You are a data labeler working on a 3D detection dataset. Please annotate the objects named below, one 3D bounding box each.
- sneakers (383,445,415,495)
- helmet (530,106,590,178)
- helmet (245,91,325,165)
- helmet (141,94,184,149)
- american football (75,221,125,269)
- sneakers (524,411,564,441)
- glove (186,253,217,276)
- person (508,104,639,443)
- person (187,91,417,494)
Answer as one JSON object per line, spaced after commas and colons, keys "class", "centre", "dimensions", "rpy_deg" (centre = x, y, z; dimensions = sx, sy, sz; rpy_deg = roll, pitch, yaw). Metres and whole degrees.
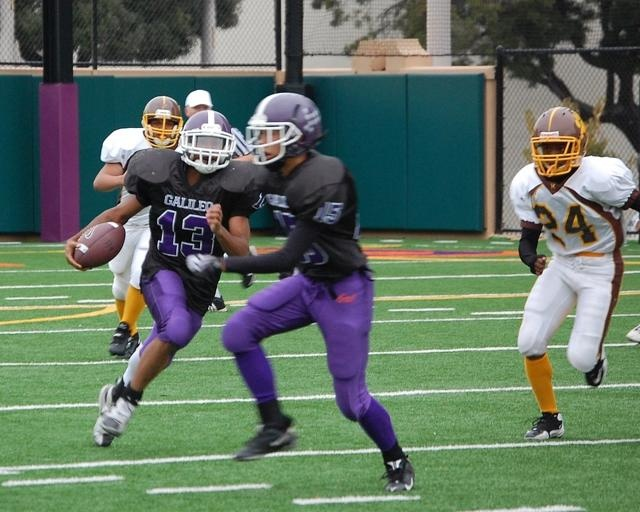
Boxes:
{"class": "sneakers", "centre": [0.416, 1.072, 4.735], "dimensions": [0.105, 0.188, 0.268], "rpy_deg": [-19, 3, 14]}
{"class": "helmet", "centre": [1.413, -0.673, 5.546], "dimensions": [0.310, 0.409, 0.275], "rpy_deg": [1, 7, 13]}
{"class": "helmet", "centre": [-0.173, -0.632, 4.685], "dimensions": [0.375, 0.357, 0.249], "rpy_deg": [-1, 7, -7]}
{"class": "helmet", "centre": [-1.137, -1.027, 7.272], "dimensions": [0.383, 0.488, 0.514], "rpy_deg": [0, 7, -5]}
{"class": "american football", "centre": [-1.358, -0.097, 5.734], "dimensions": [0.279, 0.183, 0.207], "rpy_deg": [-30, 3, -3]}
{"class": "sneakers", "centre": [1.329, 1.001, 5.563], "dimensions": [0.312, 0.164, 0.106], "rpy_deg": [0, -3, -25]}
{"class": "glove", "centre": [-0.572, 0.033, 4.549], "dimensions": [0.116, 0.093, 0.038], "rpy_deg": [7, 42, 25]}
{"class": "person", "centre": [1.490, 0.086, 5.537], "dimensions": [0.718, 1.912, 0.499], "rpy_deg": [1, 7, 10]}
{"class": "person", "centre": [-0.055, 0.189, 4.672], "dimensions": [0.994, 1.982, 0.448], "rpy_deg": [0, 7, 5]}
